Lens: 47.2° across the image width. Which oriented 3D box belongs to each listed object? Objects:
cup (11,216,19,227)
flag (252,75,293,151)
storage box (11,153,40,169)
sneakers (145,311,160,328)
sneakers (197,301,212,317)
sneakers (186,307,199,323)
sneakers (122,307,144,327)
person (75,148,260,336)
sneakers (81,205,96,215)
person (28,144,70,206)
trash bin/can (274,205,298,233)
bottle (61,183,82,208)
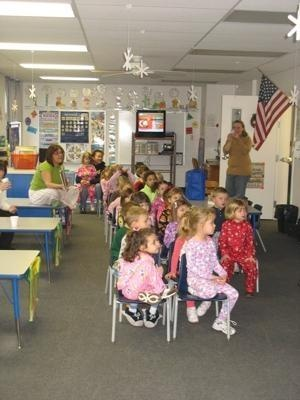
[{"bbox_3d":[-1.352,0.216,3.451,0.096,0.106,0.093,1,-2,0],"label":"cup"},{"bbox_3d":[2.221,-1.691,6.488,0.429,1.330,0.935,2,1,-2],"label":"flag"},{"bbox_3d":[-2.510,-0.770,6.863,0.414,0.210,0.306,1,3,-8],"label":"storage box"},{"bbox_3d":[0.013,0.905,2.660,0.118,0.125,0.236,2,1,1],"label":"sneakers"},{"bbox_3d":[0.442,0.875,2.836,0.086,0.103,0.259,1,-2,5],"label":"sneakers"},{"bbox_3d":[0.334,0.908,2.720,0.063,0.072,0.185,-2,0,-2],"label":"sneakers"},{"bbox_3d":[-0.161,0.861,2.619,0.202,0.078,0.093,33,22,32],"label":"sneakers"},{"bbox_3d":[0.320,0.514,2.835,0.776,1.400,1.030,2,-3,-2],"label":"person"},{"bbox_3d":[-1.522,0.249,8.483,0.179,0.229,0.580,0,-7,-5],"label":"sneakers"},{"bbox_3d":[-1.553,-0.408,5.550,0.670,0.979,0.683,10,15,22],"label":"person"},{"bbox_3d":[2.673,0.361,6.764,0.367,0.685,0.509,0,3,-15],"label":"trash bin/can"},{"bbox_3d":[-1.329,-0.074,5.754,0.261,0.346,0.148,12,9,-36],"label":"bottle"}]
